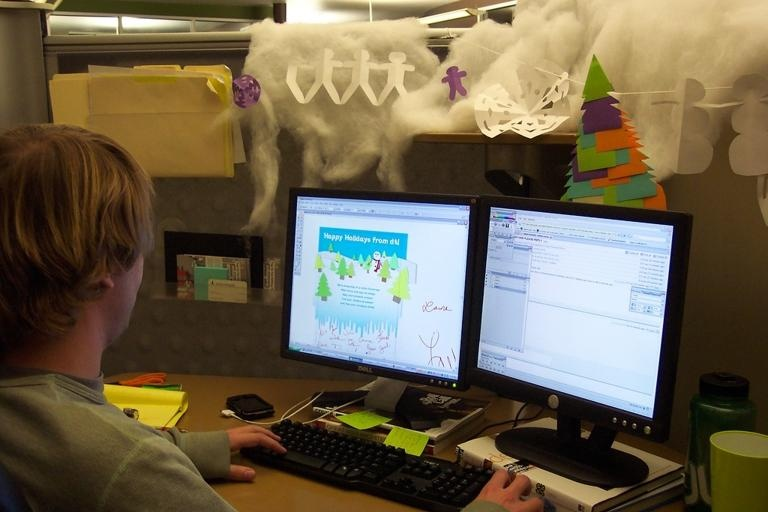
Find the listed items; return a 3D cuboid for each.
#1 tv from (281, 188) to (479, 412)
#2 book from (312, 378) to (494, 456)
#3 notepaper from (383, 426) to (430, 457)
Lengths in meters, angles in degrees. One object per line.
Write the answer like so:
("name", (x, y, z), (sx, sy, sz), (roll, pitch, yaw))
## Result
("tv", (-0.006, 0.098, 1.483), (0.572, 0.462, 0.058), (5, 1, 23))
("book", (0.058, 0.379, 1.493), (0.230, 0.052, 0.232), (6, 11, 34))
("notepaper", (0.048, 0.414, 1.372), (0.056, 0.007, 0.061), (3, 24, 19))
